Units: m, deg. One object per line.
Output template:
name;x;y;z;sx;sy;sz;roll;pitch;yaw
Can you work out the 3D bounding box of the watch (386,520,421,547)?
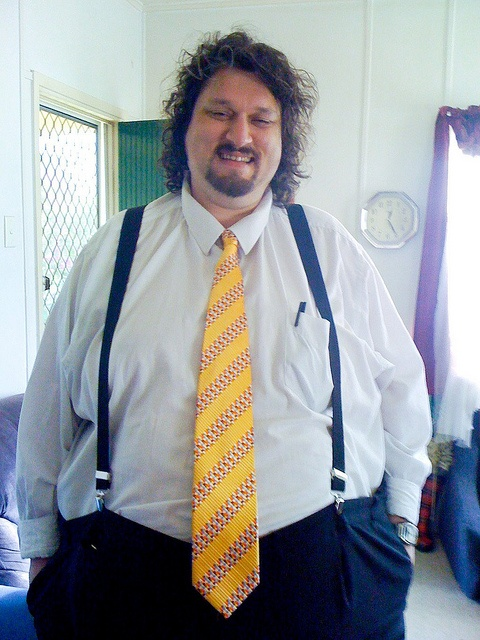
watch;0.311;0.403;1.094;0.050;0.043;0.066;27;-29;12
